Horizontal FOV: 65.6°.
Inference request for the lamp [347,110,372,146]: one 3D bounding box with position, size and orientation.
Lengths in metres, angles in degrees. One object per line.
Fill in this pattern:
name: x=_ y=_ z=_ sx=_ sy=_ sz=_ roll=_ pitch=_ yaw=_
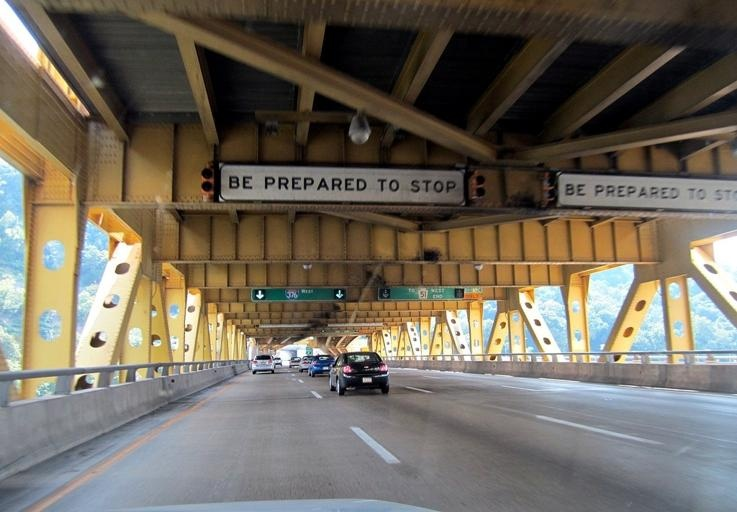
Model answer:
lamp: x=-0.261 y=-3.610 z=15.591 sx=0.494 sy=0.912 sz=0.424 roll=-6 pitch=-12 yaw=13
